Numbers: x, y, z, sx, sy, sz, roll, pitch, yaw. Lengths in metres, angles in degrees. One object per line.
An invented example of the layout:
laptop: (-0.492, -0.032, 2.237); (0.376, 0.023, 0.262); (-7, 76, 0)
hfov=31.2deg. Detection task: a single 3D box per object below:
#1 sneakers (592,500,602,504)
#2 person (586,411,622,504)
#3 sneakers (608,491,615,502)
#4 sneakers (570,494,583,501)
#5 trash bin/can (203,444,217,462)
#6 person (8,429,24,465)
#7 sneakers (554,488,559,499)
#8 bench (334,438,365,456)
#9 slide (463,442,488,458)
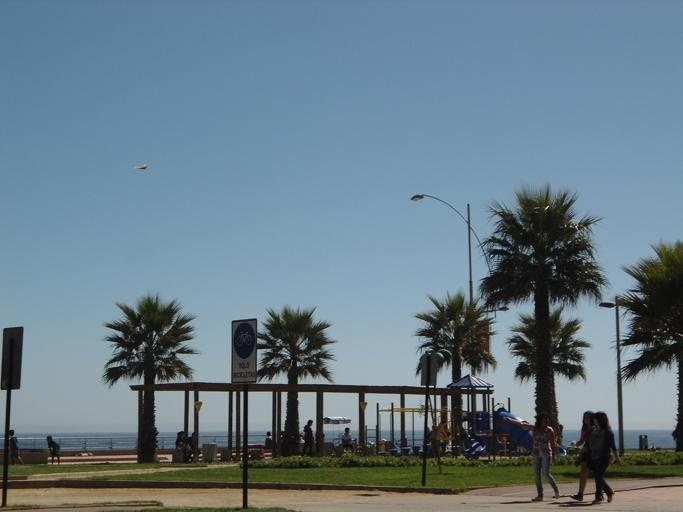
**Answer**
sneakers: (6.762, 6.446, 32.247); (0.245, 0.141, 0.360); (-5, -15, 11)
person: (7.048, 5.430, 32.844); (0.690, 2.395, 1.171); (-7, -15, 20)
sneakers: (7.184, 6.370, 32.527); (0.097, 0.283, 0.199); (14, 27, 12)
sneakers: (6.325, 6.463, 32.769); (0.125, 0.135, 0.308); (9, 0, -42)
trash bin/can: (-5.639, 8.419, 52.459); (0.631, 0.944, 0.644); (1, -2, -6)
person: (-13.215, 7.770, 49.716); (0.502, 1.406, 3.946); (2, -15, -14)
sneakers: (5.896, 6.475, 33.389); (0.135, 0.205, 0.458); (-4, -15, 8)
bench: (0.370, 8.248, 52.850); (1.748, 0.784, 2.089); (0, -8, 0)
slide: (5.805, 8.346, 52.768); (0.941, 0.908, 2.885); (-4, -15, 9)
